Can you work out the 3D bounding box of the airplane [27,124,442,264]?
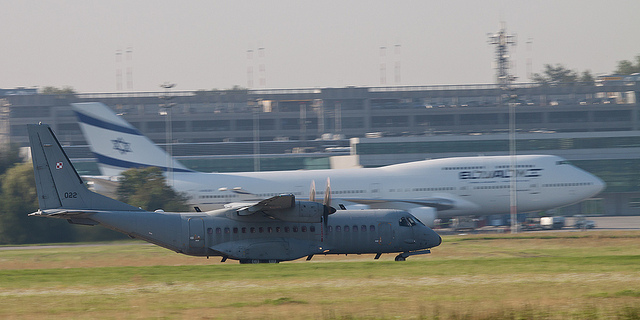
[{"bbox_3d":[-9.951,6.459,192.026,53.945,10.045,36.609,2,5,-11],"label":"airplane"}]
